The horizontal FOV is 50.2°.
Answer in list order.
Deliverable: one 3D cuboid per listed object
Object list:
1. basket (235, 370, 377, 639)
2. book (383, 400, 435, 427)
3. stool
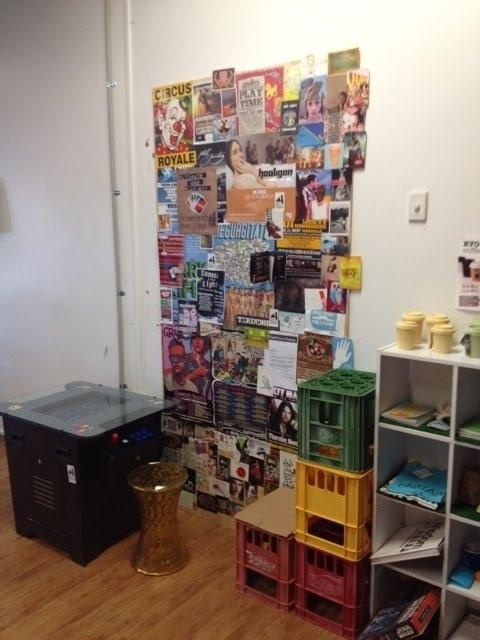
[{"bbox_3d":[0.259,0.614,1.851,0.533,0.843,0.278,3,8,37],"label":"basket"},{"bbox_3d":[0.537,0.295,1.623,0.077,0.028,0.103,5,6,38],"label":"book"},{"bbox_3d":[-0.338,0.817,2.149,0.238,0.368,0.309,-3,7,-7],"label":"stool"}]
